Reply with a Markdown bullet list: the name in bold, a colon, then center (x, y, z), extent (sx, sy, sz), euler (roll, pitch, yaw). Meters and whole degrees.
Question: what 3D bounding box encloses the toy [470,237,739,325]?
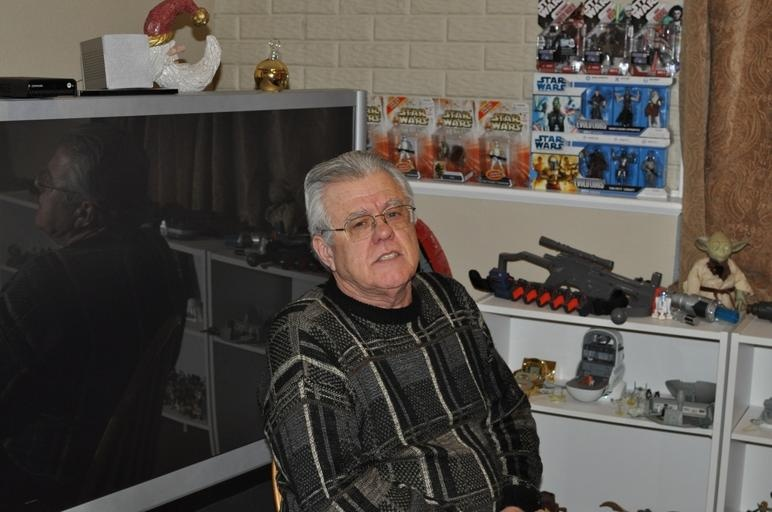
- **toy**: center (0.945, 0.107, 2.921), extent (0.646, 0.190, 0.192), euler (17, 11, 18)
